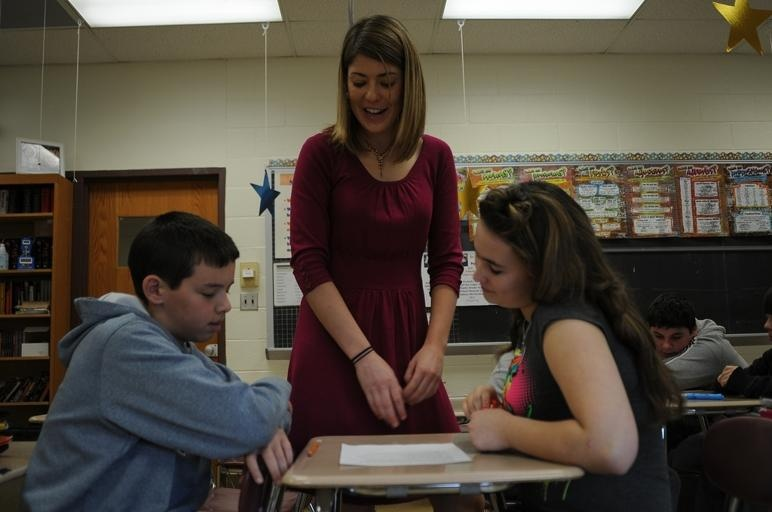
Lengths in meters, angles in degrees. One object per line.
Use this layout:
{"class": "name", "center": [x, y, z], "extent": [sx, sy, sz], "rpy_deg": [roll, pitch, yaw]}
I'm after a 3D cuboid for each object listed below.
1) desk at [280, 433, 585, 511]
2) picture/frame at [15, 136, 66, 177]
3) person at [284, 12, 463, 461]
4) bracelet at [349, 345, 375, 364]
{"class": "desk", "center": [0.135, 0.674, 1.986], "extent": [0.901, 0.209, 0.342], "rpy_deg": [-5, 1, -4]}
{"class": "picture/frame", "center": [-2.623, -0.740, 4.634], "extent": [0.340, 0.333, 0.027], "rpy_deg": [-1, -12, -32]}
{"class": "person", "center": [-0.063, -0.096, 2.305], "extent": [0.708, 1.596, 0.259], "rpy_deg": [-5, 1, -1]}
{"class": "bracelet", "center": [-0.088, 0.357, 2.204], "extent": [0.065, 0.016, 0.066], "rpy_deg": [-33, -5, -21]}
